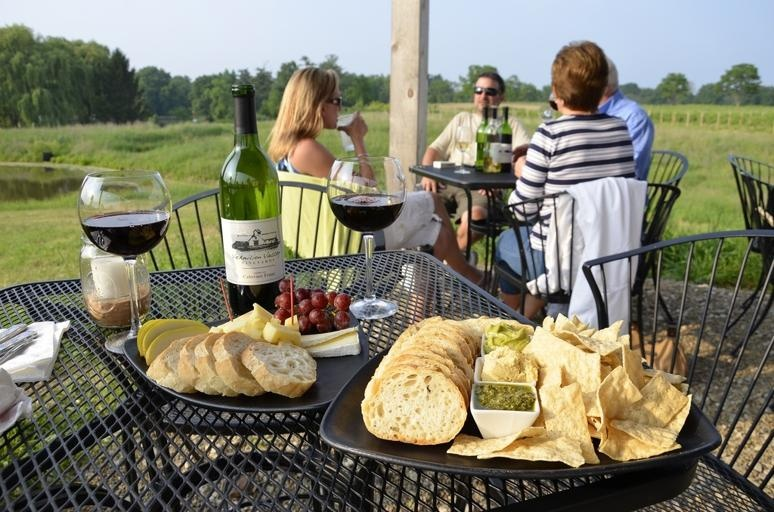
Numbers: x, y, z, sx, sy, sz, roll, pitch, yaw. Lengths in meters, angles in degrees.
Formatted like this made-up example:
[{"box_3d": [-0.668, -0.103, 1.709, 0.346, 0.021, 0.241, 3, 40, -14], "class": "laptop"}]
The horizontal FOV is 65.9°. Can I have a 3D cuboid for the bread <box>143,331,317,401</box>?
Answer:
[{"box_3d": [-0.433, 0.311, 1.697, 0.396, 0.123, 0.220, 7, 19, 2], "class": "bread"}]

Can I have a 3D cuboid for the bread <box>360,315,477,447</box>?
[{"box_3d": [0.090, 0.312, 1.619, 0.274, 0.305, 0.307, 0, 3, 3], "class": "bread"}]

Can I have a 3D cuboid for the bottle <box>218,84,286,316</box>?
[{"box_3d": [-0.452, -0.137, 2.020, 0.195, 0.856, 0.192, -1, 14, 0], "class": "bottle"}]

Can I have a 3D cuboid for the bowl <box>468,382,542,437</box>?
[{"box_3d": [0.319, 0.404, 1.598, 0.157, 0.113, 0.129, -1, 7, 1], "class": "bowl"}]

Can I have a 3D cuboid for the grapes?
[{"box_3d": [-0.255, 0.183, 1.922, 0.139, 0.195, 0.364, -1, 4, -39], "class": "grapes"}]

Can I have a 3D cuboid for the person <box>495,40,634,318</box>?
[{"box_3d": [1.141, -0.490, 3.960, 0.628, 1.839, 0.857, -3, 7, -26], "class": "person"}]

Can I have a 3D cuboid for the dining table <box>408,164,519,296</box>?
[{"box_3d": [0.591, -0.267, 4.731, 0.737, 0.990, 0.693, 1, 12, 3], "class": "dining table"}]

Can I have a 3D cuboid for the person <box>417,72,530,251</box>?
[{"box_3d": [0.779, -1.044, 5.936, 1.059, 2.127, 0.970, -8, 14, -28], "class": "person"}]

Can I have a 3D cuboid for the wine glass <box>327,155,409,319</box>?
[{"box_3d": [-0.056, -0.043, 2.149, 0.236, 0.615, 0.271, 4, 13, 29], "class": "wine glass"}]
